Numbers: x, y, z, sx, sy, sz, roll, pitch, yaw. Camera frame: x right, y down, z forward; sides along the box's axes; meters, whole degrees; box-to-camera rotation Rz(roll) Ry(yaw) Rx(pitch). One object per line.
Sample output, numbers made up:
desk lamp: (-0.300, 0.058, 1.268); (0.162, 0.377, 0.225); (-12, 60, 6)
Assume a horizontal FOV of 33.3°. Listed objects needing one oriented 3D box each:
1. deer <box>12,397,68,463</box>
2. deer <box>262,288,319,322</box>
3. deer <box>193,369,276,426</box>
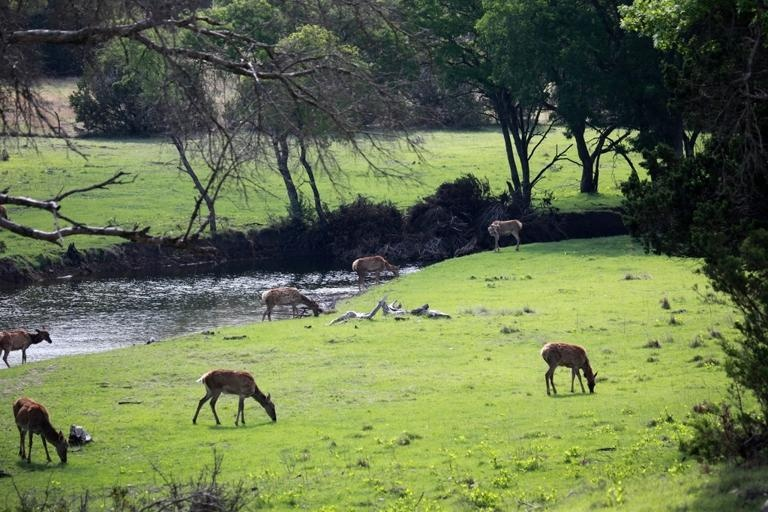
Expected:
deer: (-11.532, 5.751, 42.512); (2.456, 1.859, 1.208); (7, 17, 34)
deer: (-4.323, 2.261, 60.401); (2.935, 1.674, 0.689); (4, 23, -6)
deer: (-5.190, 4.995, 45.115); (2.891, 2.086, 0.717); (6, 4, -4)
